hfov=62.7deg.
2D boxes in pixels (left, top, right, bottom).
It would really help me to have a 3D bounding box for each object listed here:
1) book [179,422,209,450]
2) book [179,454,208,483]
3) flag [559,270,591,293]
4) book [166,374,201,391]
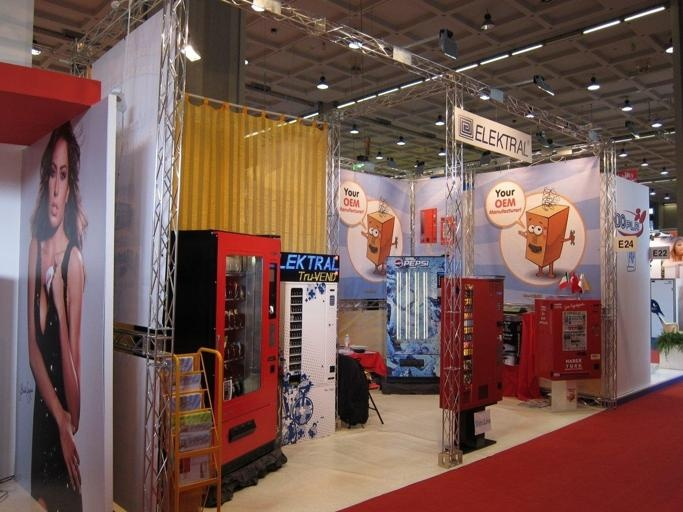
[{"bbox_3d":[-1.352,1.680,5.205,0.304,0.219,0.169,6,-9,-43],"label":"book"},{"bbox_3d":[-1.378,1.967,5.196,0.290,0.285,0.042,1,0,-35],"label":"book"},{"bbox_3d":[4.025,0.306,9.721,0.281,0.553,0.530,-7,9,-42],"label":"flag"},{"bbox_3d":[-1.504,1.192,5.310,0.104,0.142,0.194,-4,-8,39],"label":"book"}]
